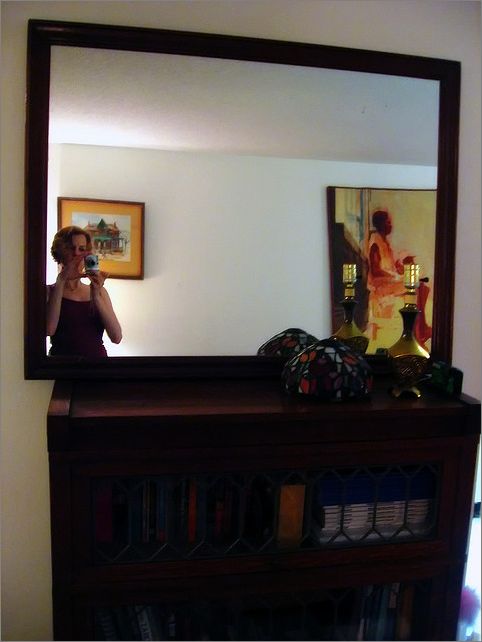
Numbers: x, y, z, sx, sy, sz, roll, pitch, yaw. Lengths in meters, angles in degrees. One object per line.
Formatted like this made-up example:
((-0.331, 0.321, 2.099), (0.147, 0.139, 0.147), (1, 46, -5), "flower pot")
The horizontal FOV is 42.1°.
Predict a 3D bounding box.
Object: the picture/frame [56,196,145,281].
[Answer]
((-0.386, -0.230, 1.671), (0.229, 0.218, 0.011), (-1, 9, -10), "picture/frame")

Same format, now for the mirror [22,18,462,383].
((-0.045, -0.346, 1.719), (1.057, 0.772, 0.041), (1, 2, -12), "mirror")

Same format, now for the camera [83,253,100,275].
((-0.404, -0.155, 1.678), (0.060, 0.081, 0.045), (0, 4, -12), "camera")
